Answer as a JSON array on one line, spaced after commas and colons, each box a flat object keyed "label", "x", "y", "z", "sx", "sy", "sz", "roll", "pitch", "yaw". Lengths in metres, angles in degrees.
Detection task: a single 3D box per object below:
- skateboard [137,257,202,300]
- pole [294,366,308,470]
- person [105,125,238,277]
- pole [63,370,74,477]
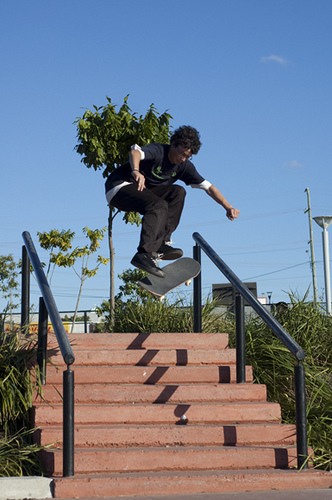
[{"label": "skateboard", "x": 0.065, "y": 0.231, "z": 6.941, "sx": 0.256, "sy": 0.125, "sz": 0.770, "roll": 31, "pitch": 42, "yaw": 31}, {"label": "pole", "x": 0.880, "y": 1.094, "z": 5.121, "sx": 0.068, "sy": 0.664, "sz": 0.101, "roll": -3, "pitch": -6, "yaw": 3}, {"label": "person", "x": 0.079, "y": -0.459, "z": 6.909, "sx": 1.229, "sy": 1.369, "sz": 0.941, "roll": 10, "pitch": -3, "yaw": -1}, {"label": "pole", "x": -0.610, "y": 1.071, "z": 4.839, "sx": 0.090, "sy": 0.649, "sz": 0.076, "roll": -4, "pitch": -7, "yaw": 20}]
